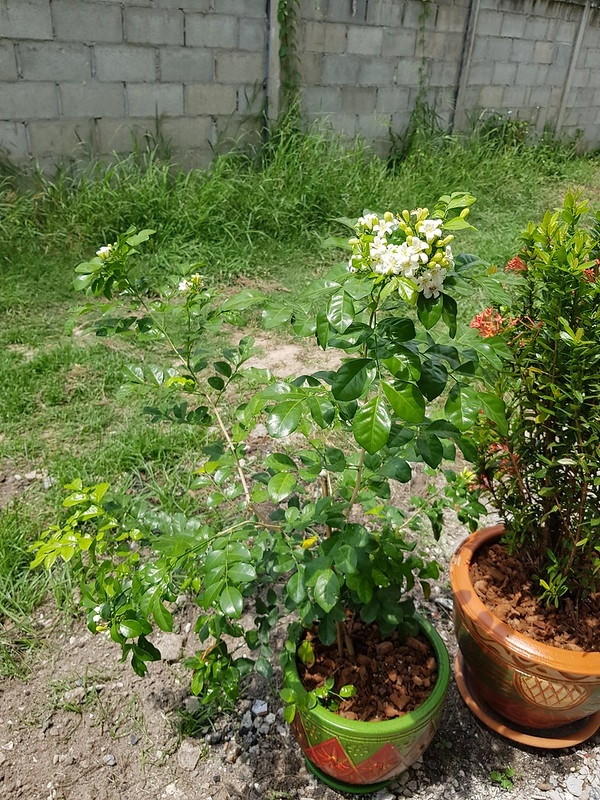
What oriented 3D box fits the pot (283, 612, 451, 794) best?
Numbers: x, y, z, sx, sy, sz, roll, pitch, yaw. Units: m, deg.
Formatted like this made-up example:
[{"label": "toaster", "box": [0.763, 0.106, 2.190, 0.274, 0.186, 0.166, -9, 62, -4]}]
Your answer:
[{"label": "pot", "box": [0.185, 0.804, 1.616, 0.437, 0.261, 0.393, -1, 25, 0]}]
